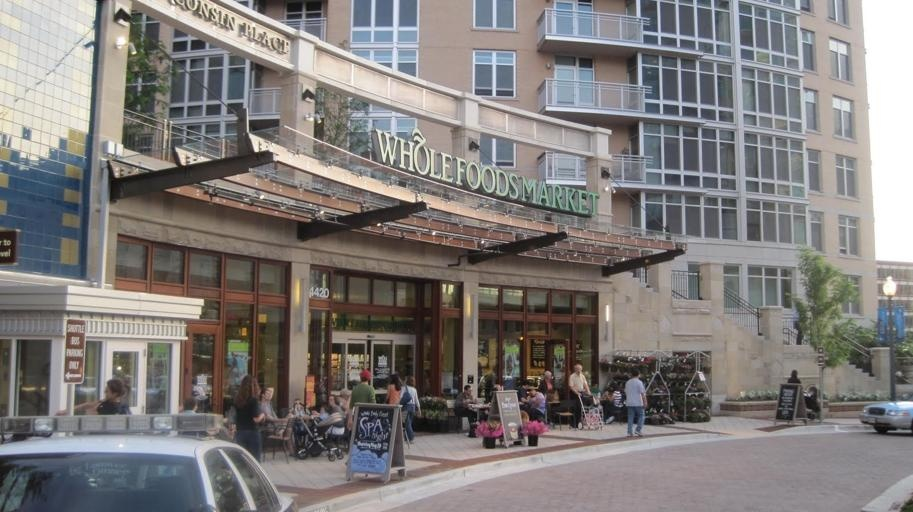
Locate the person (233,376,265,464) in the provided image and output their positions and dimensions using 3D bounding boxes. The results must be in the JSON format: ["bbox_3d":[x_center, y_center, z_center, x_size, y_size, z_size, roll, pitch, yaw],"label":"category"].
[{"bbox_3d":[-6.621,5.026,31.031,1.084,2.832,1.009,0,-2,-7],"label":"person"}]

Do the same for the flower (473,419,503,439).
[{"bbox_3d":[1.157,6.253,35.598,0.799,0.475,0.782,-3,-7,19],"label":"flower"}]

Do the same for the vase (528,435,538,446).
[{"bbox_3d":[2.823,6.774,36.096,0.391,0.277,0.352,-3,-8,20],"label":"vase"}]

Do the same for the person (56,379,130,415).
[{"bbox_3d":[-10.804,4.164,29.026,1.202,2.523,0.936,6,-5,3],"label":"person"}]

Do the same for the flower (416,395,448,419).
[{"bbox_3d":[-0.883,6.075,39.615,0.927,0.600,0.898,-1,0,0],"label":"flower"}]

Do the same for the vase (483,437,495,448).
[{"bbox_3d":[1.188,6.738,35.497,0.384,0.277,0.395,7,-12,-43],"label":"vase"}]
